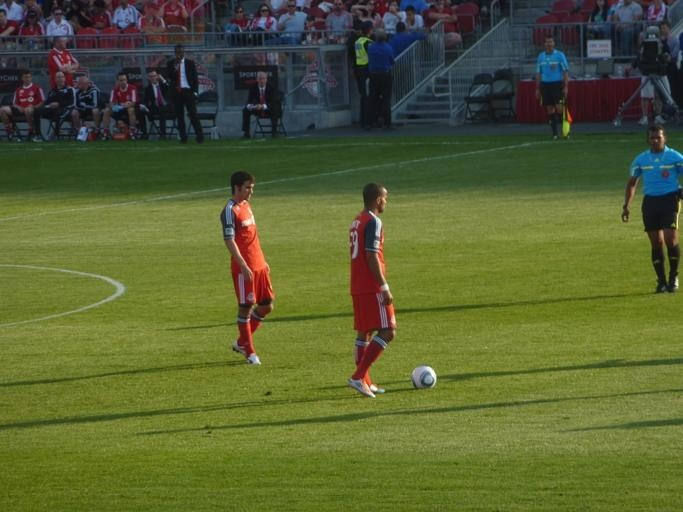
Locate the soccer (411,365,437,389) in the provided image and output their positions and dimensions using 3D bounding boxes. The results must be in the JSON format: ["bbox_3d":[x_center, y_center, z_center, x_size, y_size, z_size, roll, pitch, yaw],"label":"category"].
[{"bbox_3d":[1.322,1.874,31.978,0.440,0.353,0.295,-5,10,-10],"label":"soccer"}]

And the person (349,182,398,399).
[{"bbox_3d":[0.433,0.519,31.888,0.754,3.271,0.808,-3,10,1],"label":"person"}]

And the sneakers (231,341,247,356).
[{"bbox_3d":[-1.697,1.478,32.939,0.125,0.161,0.365,-7,15,-33],"label":"sneakers"}]

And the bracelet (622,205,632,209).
[{"bbox_3d":[5.230,-0.889,36.837,0.048,0.055,0.155,8,15,24],"label":"bracelet"}]

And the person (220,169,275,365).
[{"bbox_3d":[-1.564,0.166,32.785,0.677,3.071,0.712,1,11,22],"label":"person"}]

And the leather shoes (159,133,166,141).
[{"bbox_3d":[-4.746,-3.082,52.860,0.161,0.291,0.166,0,-6,16],"label":"leather shoes"}]

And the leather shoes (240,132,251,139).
[{"bbox_3d":[-2.502,-3.087,51.807,0.192,0.176,0.479,-3,10,-2],"label":"leather shoes"}]

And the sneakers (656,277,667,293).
[{"bbox_3d":[5.574,0.501,34.987,0.208,0.239,0.238,-2,0,2],"label":"sneakers"}]

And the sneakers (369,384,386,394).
[{"bbox_3d":[0.553,2.069,31.932,0.238,0.101,0.125,6,22,25],"label":"sneakers"}]

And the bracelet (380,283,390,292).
[{"bbox_3d":[0.667,0.480,31.742,0.122,0.091,0.123,-1,1,19],"label":"bracelet"}]

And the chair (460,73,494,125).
[{"bbox_3d":[3.616,-4.117,52.894,0.764,1.293,1.892,-2,10,4],"label":"chair"}]

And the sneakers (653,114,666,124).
[{"bbox_3d":[7.816,-3.296,49.211,0.177,0.223,0.302,0,3,2],"label":"sneakers"}]
